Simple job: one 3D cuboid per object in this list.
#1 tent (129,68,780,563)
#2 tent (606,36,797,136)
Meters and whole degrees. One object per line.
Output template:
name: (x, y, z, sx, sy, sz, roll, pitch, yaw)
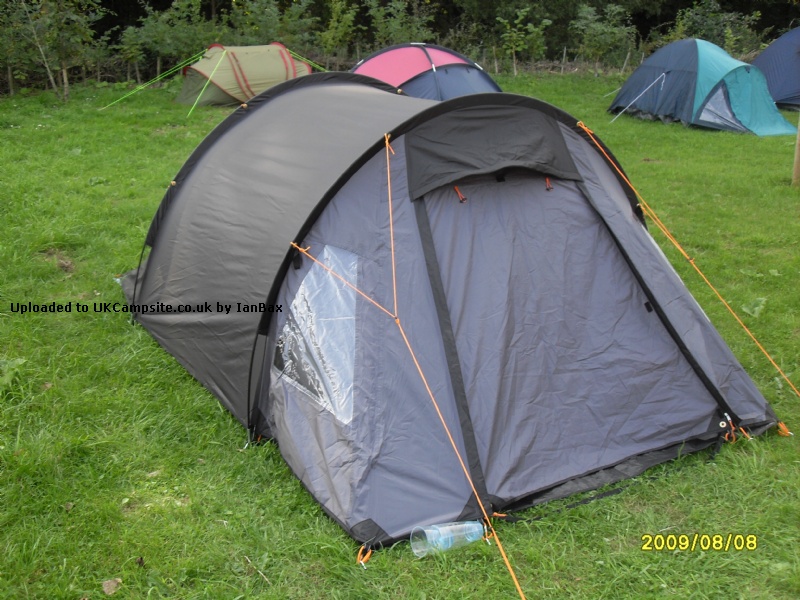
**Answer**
tent: (-0.211, -0.097, 7.306, 3.428, 2.131, 5.178, -17, 37, -28)
tent: (6.549, -4.672, 16.070, 2.602, 1.282, 2.855, -15, 30, -29)
